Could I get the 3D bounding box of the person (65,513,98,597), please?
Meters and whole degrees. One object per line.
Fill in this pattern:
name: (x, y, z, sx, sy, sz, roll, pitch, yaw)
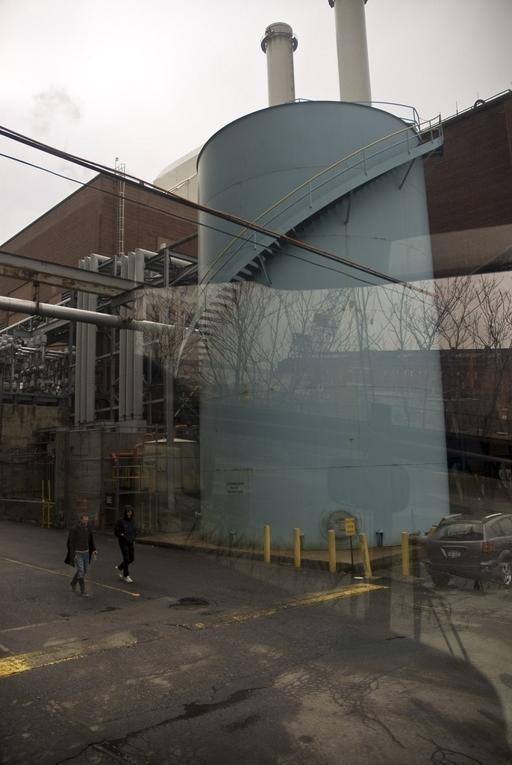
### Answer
person: (-3.283, 3.186, 12.273, 0.511, 1.505, 1.143, 0, -4, -15)
